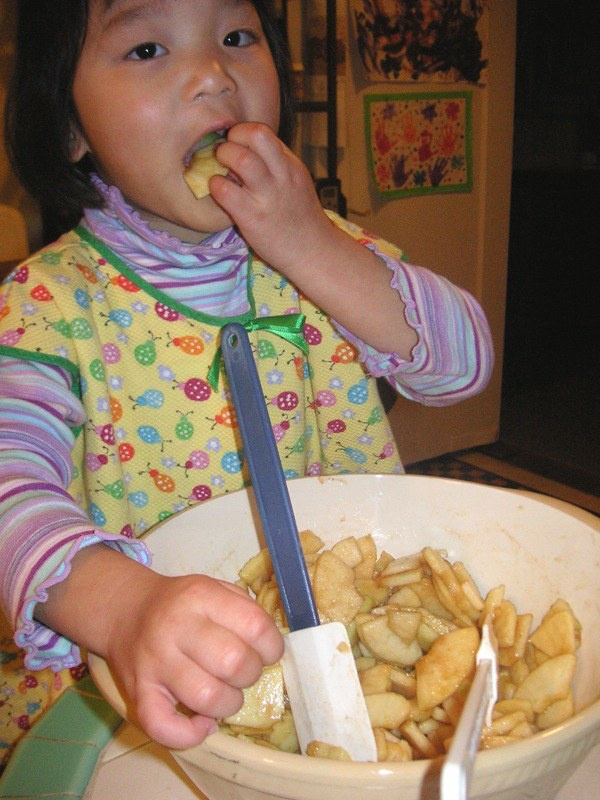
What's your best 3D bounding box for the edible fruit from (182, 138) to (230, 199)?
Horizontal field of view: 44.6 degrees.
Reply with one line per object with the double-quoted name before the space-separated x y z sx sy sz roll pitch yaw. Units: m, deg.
"edible fruit" -0.077 -0.203 0.651 0.044 0.052 0.043 -21 33 -22
